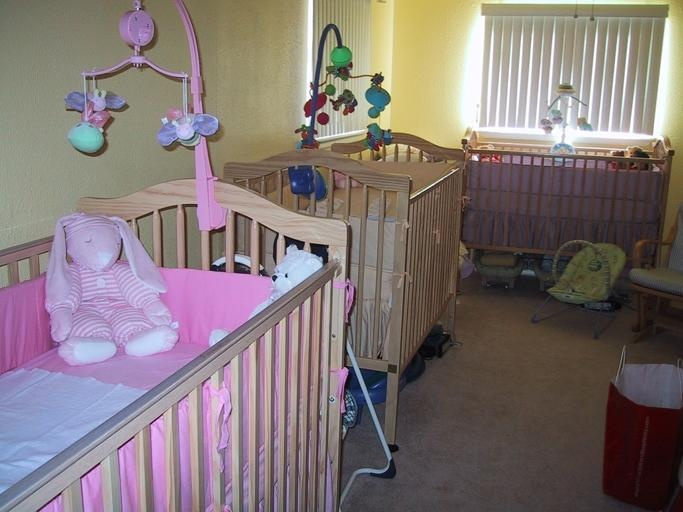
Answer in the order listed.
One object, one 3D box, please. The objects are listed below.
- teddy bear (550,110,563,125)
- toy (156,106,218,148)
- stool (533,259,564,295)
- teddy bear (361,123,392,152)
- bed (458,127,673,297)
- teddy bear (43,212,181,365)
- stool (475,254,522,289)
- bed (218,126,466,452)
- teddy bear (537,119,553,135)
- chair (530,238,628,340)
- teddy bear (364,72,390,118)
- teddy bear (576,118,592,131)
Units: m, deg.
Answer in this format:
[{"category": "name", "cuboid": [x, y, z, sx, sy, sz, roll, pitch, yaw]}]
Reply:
[{"category": "teddy bear", "cuboid": [2.228, -1.440, 6.070, 0.140, 0.139, 0.315, 7, 14, 18]}, {"category": "toy", "cuboid": [-0.511, -0.422, 1.966, 0.185, 0.117, 0.208, -1, 14, -13]}, {"category": "stool", "cuboid": [1.662, 0.165, 4.662, 0.258, 0.341, 0.276, 2, 3, 39]}, {"category": "teddy bear", "cuboid": [0.210, -0.682, 3.367, 0.080, 0.178, 0.167, 3, -2, -23]}, {"category": "bed", "cuboid": [1.897, -0.109, 5.207, 1.751, 1.424, 1.116, 3, 9, 14]}, {"category": "teddy bear", "cuboid": [-0.866, 0.053, 2.210, 0.435, 0.525, 0.504, -5, 19, -35]}, {"category": "stool", "cuboid": [1.291, 0.124, 4.794, 0.253, 0.184, 0.333, 1, 3, 20]}, {"category": "bed", "cuboid": [0.240, -0.022, 3.308, 1.063, 1.279, 1.726, 4, 15, 21]}, {"category": "teddy bear", "cuboid": [2.106, -1.326, 6.011, 0.136, 0.061, 0.171, 7, -4, 43]}, {"category": "chair", "cuboid": [1.646, 0.149, 4.189, 0.801, 0.758, 0.544, -16, 14, -38]}, {"category": "teddy bear", "cuboid": [0.204, -0.883, 3.269, 0.136, 0.247, 0.131, -1, 12, -18]}, {"category": "teddy bear", "cuboid": [2.419, -1.280, 5.867, 0.135, 0.185, 0.057, -3, -3, -19]}]
